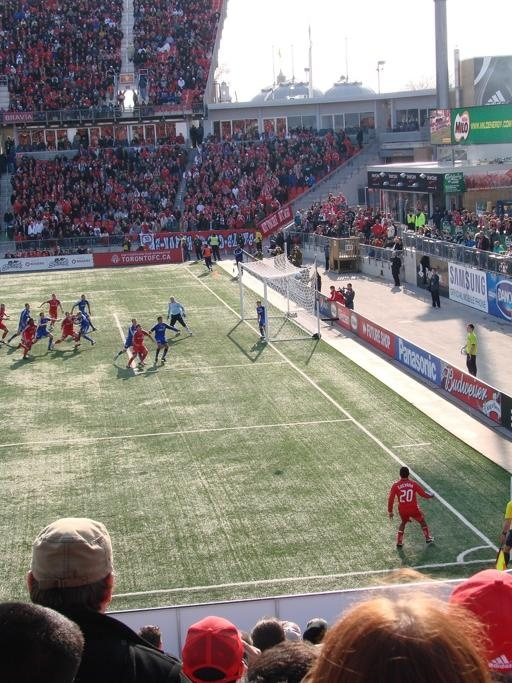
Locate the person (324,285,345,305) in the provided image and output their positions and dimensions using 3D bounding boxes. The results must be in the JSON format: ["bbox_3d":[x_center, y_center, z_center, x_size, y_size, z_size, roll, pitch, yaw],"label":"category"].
[{"bbox_3d":[4.053,-2.315,30.508,0.745,0.730,1.465,-5,12,-12],"label":"person"}]

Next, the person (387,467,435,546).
[{"bbox_3d":[3.330,3.537,12.688,1.035,1.894,0.587,-7,16,6],"label":"person"}]

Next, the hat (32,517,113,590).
[{"bbox_3d":[-0.716,0.799,2.252,0.292,0.203,0.409,1,-9,-6],"label":"hat"}]

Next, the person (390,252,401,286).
[{"bbox_3d":[8.551,-4.385,36.323,0.579,2.110,1.261,0,12,14],"label":"person"}]

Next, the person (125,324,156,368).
[{"bbox_3d":[-5.094,0.309,25.830,1.381,2.054,0.750,-12,44,-15],"label":"person"}]
